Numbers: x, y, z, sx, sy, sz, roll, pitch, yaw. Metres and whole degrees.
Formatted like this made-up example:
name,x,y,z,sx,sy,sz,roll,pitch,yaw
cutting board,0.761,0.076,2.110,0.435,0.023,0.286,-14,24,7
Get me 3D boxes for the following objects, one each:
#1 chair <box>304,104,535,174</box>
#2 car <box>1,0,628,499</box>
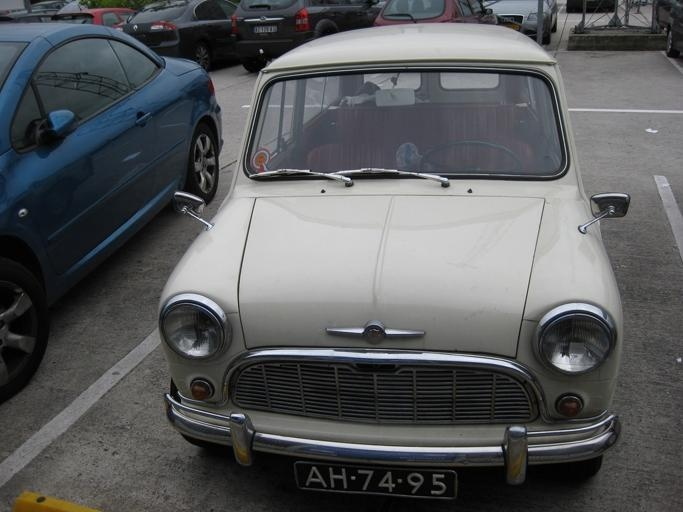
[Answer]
name,x,y,z,sx,sy,sz,roll,pitch,yaw
chair,0.624,-0.806,3.738,1.324,0.449,0.431,1,10,12
car,0.304,0.064,2.883,2.189,1.932,2.103,7,33,11
